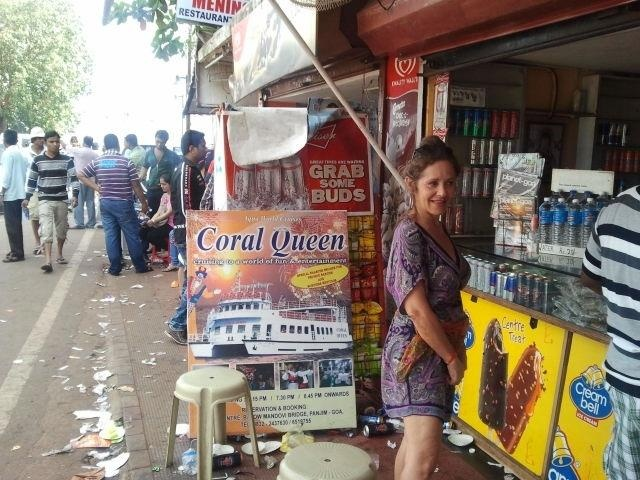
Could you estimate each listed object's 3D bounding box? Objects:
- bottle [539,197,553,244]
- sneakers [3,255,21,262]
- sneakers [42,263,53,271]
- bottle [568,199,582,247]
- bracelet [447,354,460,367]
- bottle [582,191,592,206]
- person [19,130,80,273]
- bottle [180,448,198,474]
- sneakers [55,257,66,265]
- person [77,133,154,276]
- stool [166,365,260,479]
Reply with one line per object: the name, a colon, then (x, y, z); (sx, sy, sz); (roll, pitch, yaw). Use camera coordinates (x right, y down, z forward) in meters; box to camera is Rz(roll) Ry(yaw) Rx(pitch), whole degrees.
bottle: (1.942, -0.169, 4.314); (0.114, 0.369, 0.241); (4, 10, 23)
sneakers: (-6.403, 0.387, 10.423); (0.123, 0.138, 0.320); (0, -5, 2)
sneakers: (-5.260, 0.535, 9.663); (0.180, 0.186, 0.212); (-5, 11, -30)
bottle: (2.072, -0.118, 4.077); (0.096, 0.325, 0.101); (0, 9, 0)
bracelet: (0.763, 0.681, 2.860); (0.083, 0.065, 0.031); (-3, 10, -21)
bottle: (2.207, -0.341, 4.128); (0.107, 0.100, 0.110); (7, 14, 38)
person: (-5.290, -0.787, 9.871); (0.948, 2.708, 1.086); (4, 7, 14)
bottle: (-0.997, 1.695, 3.843); (0.127, 0.068, 0.181); (21, 43, -15)
sneakers: (-5.443, 0.441, 10.504); (0.140, 0.108, 0.341); (-2, 5, -30)
person: (-3.908, -0.670, 9.609); (1.290, 2.647, 0.760); (-2, 5, -25)
stool: (-0.810, 1.249, 3.816); (0.677, 0.873, 0.661); (0, 1, -45)
